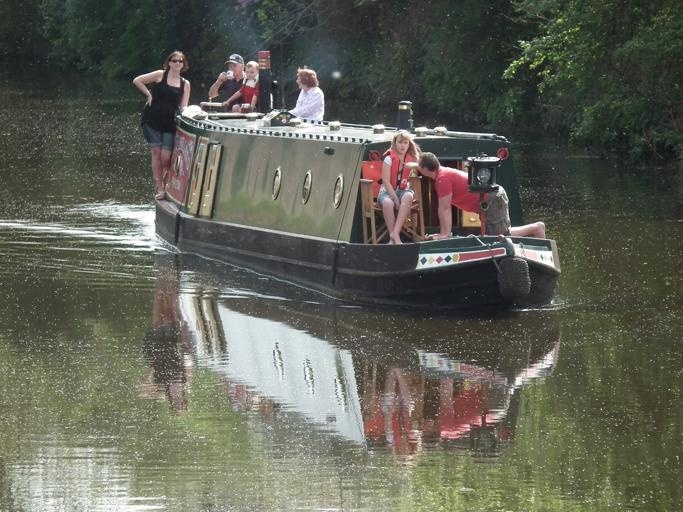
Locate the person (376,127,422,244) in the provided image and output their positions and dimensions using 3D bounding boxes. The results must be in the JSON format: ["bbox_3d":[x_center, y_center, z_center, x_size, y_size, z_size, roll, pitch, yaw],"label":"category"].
[{"bbox_3d":[0.746,-0.895,19.321,0.552,1.284,1.145,13,45,-4],"label":"person"}]

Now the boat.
[{"bbox_3d":[-0.591,-1.253,22.144,2.723,3.126,9.394,-1,7,-29],"label":"boat"}]

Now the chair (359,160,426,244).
[{"bbox_3d":[0.670,-0.725,19.456,0.787,1.330,0.907,-6,4,-22],"label":"chair"}]

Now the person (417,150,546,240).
[{"bbox_3d":[2.171,-0.770,19.069,2.252,1.424,0.853,6,-1,10],"label":"person"}]

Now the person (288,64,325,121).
[{"bbox_3d":[-0.680,-2.713,23.778,0.682,0.955,0.581,-3,15,1],"label":"person"}]

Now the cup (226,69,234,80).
[{"bbox_3d":[-2.129,-3.399,26.295,0.158,0.179,0.155,4,5,0],"label":"cup"}]

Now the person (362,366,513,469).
[{"bbox_3d":[1.054,1.845,16.328,0.798,0.608,1.414,-2,9,-25],"label":"person"}]

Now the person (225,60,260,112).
[{"bbox_3d":[-1.844,-2.972,25.671,0.691,1.159,0.737,2,14,-4],"label":"person"}]
